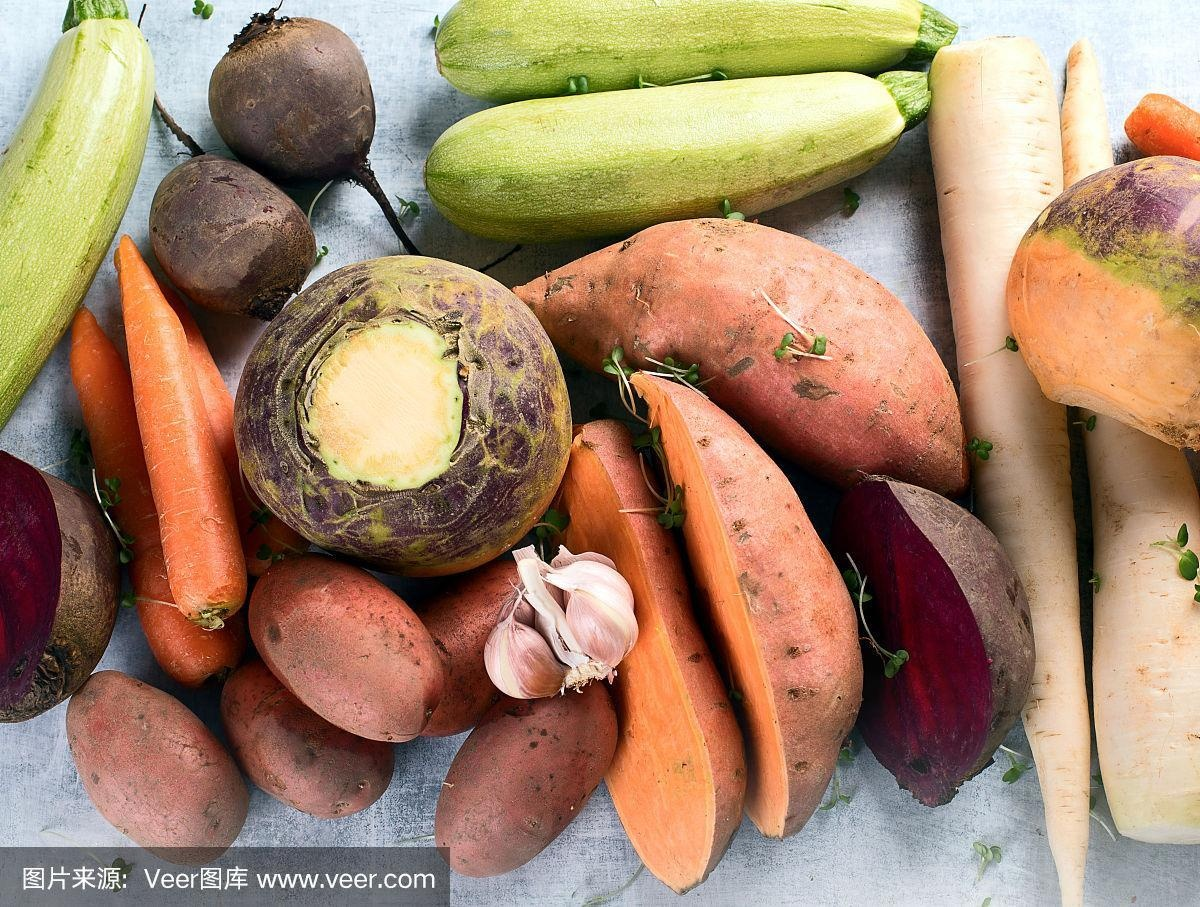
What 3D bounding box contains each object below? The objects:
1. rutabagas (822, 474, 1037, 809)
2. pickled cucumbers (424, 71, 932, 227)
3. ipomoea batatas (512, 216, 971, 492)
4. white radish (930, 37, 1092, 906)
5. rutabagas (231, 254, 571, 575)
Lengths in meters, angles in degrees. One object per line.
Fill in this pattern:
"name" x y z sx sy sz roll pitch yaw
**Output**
"rutabagas" 0.449 0.267 1.900 0.274 0.496 0.357 1 27 6
"pickled cucumbers" 0.076 -0.539 1.994 0.793 0.249 0.601 -12 25 -14
"ipomoea batatas" 0.195 -0.233 2.017 0.626 0.425 0.568 -13 25 -15
"white radish" 0.671 -0.004 2.047 0.225 0.215 1.424 -6 84 8
"rutabagas" -0.282 -0.059 1.720 0.472 0.270 0.370 -5 62 -3
